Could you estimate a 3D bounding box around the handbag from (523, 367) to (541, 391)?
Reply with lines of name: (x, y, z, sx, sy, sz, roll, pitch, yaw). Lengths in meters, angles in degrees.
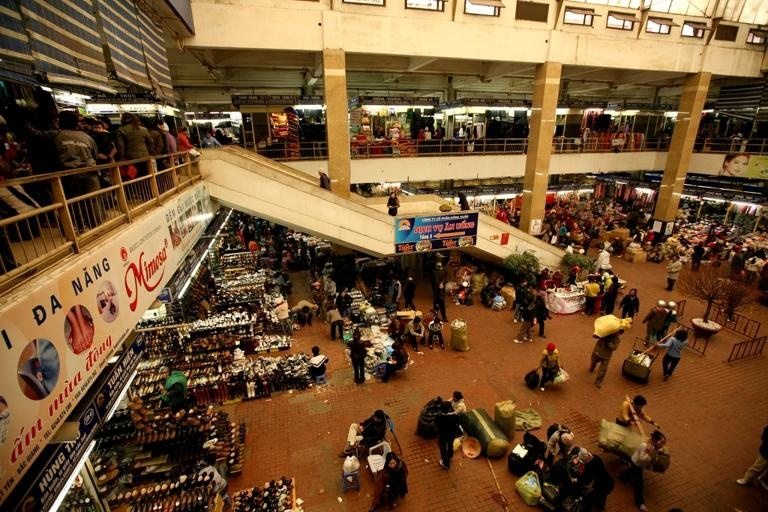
handbag: (4.491, 3.735, 14.646, 0.329, 0.529, 0.335, 15, 27, -19)

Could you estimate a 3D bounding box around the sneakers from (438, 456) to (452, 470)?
sneakers: (1.580, 5.377, 12.562, 0.182, 0.163, 0.382, -3, 8, -24)

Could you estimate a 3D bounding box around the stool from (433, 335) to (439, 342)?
stool: (1.753, 2.793, 16.611, 0.252, 0.249, 0.257, 1, 8, -4)

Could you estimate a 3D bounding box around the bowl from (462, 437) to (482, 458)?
bowl: (2.304, 5.089, 12.864, 0.527, 0.338, 0.404, 12, 24, 31)

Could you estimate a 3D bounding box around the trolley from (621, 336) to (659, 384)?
trolley: (7.981, 3.167, 14.982, 0.714, 1.009, 1.106, 18, 26, 35)

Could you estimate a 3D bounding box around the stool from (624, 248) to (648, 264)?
stool: (12.268, -0.142, 23.507, 0.770, 0.735, 0.754, -14, 30, -21)

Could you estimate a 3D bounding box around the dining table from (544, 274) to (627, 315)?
dining table: (7.577, 1.627, 18.853, 2.370, 0.577, 1.276, -12, 30, -17)

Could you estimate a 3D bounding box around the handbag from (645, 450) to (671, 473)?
handbag: (6.619, 4.923, 11.660, 0.484, 0.555, 0.200, -3, 21, -4)

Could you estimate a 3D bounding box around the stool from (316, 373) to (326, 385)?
stool: (-1.921, 3.730, 14.685, 0.339, 0.204, 0.603, 12, -24, -2)
